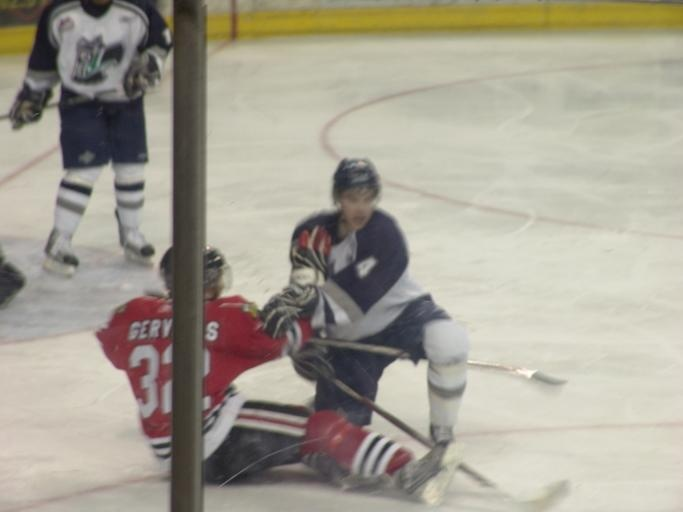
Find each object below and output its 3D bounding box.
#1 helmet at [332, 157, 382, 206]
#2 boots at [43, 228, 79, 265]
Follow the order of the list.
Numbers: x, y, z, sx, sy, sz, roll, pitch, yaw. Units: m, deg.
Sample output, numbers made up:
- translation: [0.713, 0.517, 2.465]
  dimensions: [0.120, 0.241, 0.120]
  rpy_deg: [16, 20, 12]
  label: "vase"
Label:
- translation: [0.054, -0.236, 4.122]
  dimensions: [0.174, 0.131, 0.150]
  rpy_deg: [-5, 17, -6]
  label: "helmet"
- translation: [-0.848, -0.033, 4.135]
  dimensions: [0.116, 0.128, 0.071]
  rpy_deg: [-5, -7, -17]
  label: "boots"
